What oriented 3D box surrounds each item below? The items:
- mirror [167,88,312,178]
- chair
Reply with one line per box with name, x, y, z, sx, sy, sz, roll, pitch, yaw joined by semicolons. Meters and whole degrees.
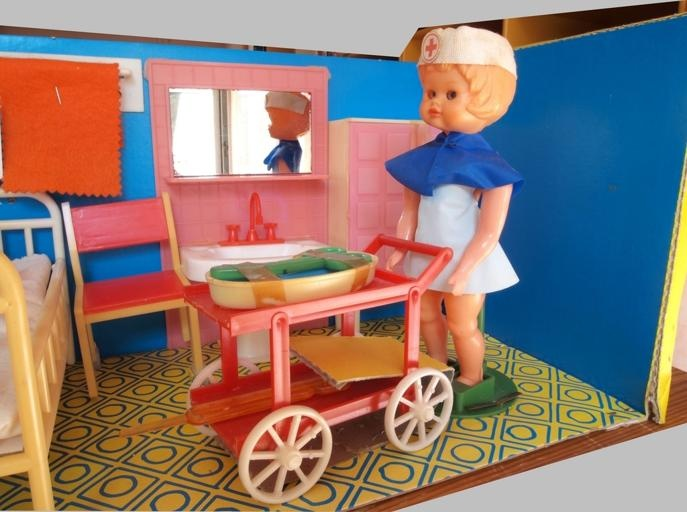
mirror;-0.586;-0.663;2.899;0.613;0.314;0.022;-3;11;-17
chair;-1.053;0.159;2.740;0.526;0.864;0.560;-8;19;-19
